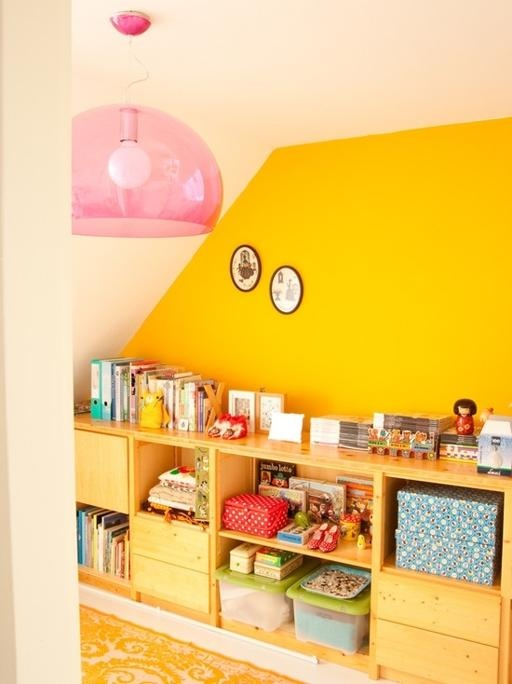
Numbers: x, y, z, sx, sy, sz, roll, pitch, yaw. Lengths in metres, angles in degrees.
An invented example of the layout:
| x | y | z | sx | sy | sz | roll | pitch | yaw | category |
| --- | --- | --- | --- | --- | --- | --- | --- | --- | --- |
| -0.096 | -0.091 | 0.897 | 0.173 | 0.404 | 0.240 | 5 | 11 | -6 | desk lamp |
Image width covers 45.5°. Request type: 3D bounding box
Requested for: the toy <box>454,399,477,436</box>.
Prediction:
| x | y | z | sx | sy | sz | roll | pitch | yaw | category |
| --- | --- | --- | --- | --- | --- | --- | --- | --- | --- |
| 0.783 | 0.282 | 2.305 | 0.073 | 0.131 | 0.143 | 2 | -2 | 18 | toy |

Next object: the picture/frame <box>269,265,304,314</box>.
| x | y | z | sx | sy | sz | roll | pitch | yaw | category |
| --- | --- | --- | --- | --- | --- | --- | --- | --- | --- |
| 0.149 | -0.245 | 2.848 | 0.030 | 0.235 | 0.209 | -5 | 10 | -40 | picture/frame |

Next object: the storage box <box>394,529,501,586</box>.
| x | y | z | sx | sy | sz | roll | pitch | yaw | category |
| --- | --- | --- | --- | --- | --- | --- | --- | --- | --- |
| 0.676 | 0.750 | 2.114 | 0.235 | 0.091 | 0.170 | 0 | -1 | 39 | storage box |

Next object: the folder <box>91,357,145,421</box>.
| x | y | z | sx | sy | sz | roll | pitch | yaw | category |
| --- | --- | --- | --- | --- | --- | --- | --- | --- | --- |
| -0.731 | 0.217 | 3.313 | 0.277 | 0.359 | 0.374 | 1 | 2 | -7 | folder |

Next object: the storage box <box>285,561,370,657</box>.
| x | y | z | sx | sy | sz | roll | pitch | yaw | category |
| --- | --- | --- | --- | --- | --- | --- | --- | --- | --- |
| 0.338 | 1.096 | 2.474 | 0.361 | 0.231 | 0.400 | 4 | -2 | 18 | storage box |

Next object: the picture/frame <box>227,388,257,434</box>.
| x | y | z | sx | sy | sz | roll | pitch | yaw | category |
| --- | --- | --- | --- | --- | --- | --- | --- | --- | --- |
| -0.061 | 0.324 | 2.806 | 0.186 | 0.236 | 0.026 | -1 | -2 | 41 | picture/frame |

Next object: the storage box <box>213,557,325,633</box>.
| x | y | z | sx | sy | sz | roll | pitch | yaw | category |
| --- | --- | --- | --- | --- | --- | --- | --- | --- | --- |
| 0.034 | 1.053 | 2.574 | 0.231 | 0.144 | 0.295 | -1 | -2 | 32 | storage box |

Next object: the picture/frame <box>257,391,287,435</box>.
| x | y | z | sx | sy | sz | roll | pitch | yaw | category |
| --- | --- | --- | --- | --- | --- | --- | --- | --- | --- |
| 0.070 | 0.322 | 2.743 | 0.164 | 0.219 | 0.029 | 7 | 10 | 36 | picture/frame |
